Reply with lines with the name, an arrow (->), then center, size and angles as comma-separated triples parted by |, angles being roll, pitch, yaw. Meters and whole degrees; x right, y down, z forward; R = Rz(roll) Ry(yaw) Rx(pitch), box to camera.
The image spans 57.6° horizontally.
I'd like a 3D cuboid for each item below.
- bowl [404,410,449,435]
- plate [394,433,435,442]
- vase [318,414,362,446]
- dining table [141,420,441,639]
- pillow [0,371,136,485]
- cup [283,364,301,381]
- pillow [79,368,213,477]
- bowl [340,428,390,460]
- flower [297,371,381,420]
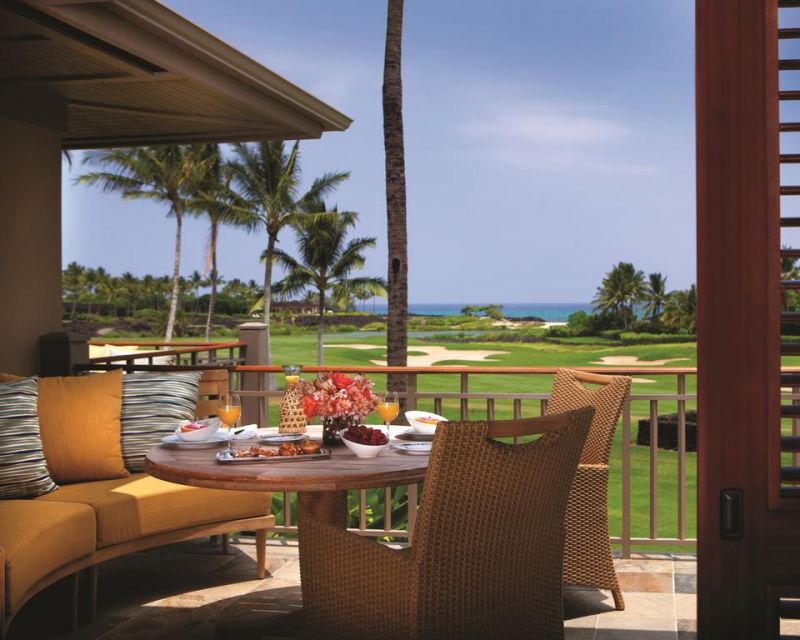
bowl -> 0.111, 0.418, 3.027 | 0.215, 0.075, 0.204 | 1, -3, 0
plate -> 0.049, 0.483, 2.999 | 0.121, 0.014, 0.113 | -1, -1, 10
vase -> -0.245, 0.421, 2.878 | 0.138, 0.127, 0.137 | -1, -2, 32
dining table -> -0.481, 0.815, 2.811 | 1.160, 0.488, 1.082 | -1, -3, -2
pillow -> -1.567, 0.531, 3.442 | 0.543, 0.495, 0.183 | -3, -31, -22
cup -> -0.447, 0.217, 2.969 | 0.067, 0.061, 0.066 | -1, -3, 0
pillow -> -1.254, 0.520, 3.767 | 0.563, 0.471, 0.165 | 8, -21, -37
bowl -> -0.128, 0.441, 2.644 | 0.126, 0.055, 0.124 | 2, -2, 0
flower -> -0.235, 0.268, 2.890 | 0.234, 0.178, 0.222 | 10, 5, 16
